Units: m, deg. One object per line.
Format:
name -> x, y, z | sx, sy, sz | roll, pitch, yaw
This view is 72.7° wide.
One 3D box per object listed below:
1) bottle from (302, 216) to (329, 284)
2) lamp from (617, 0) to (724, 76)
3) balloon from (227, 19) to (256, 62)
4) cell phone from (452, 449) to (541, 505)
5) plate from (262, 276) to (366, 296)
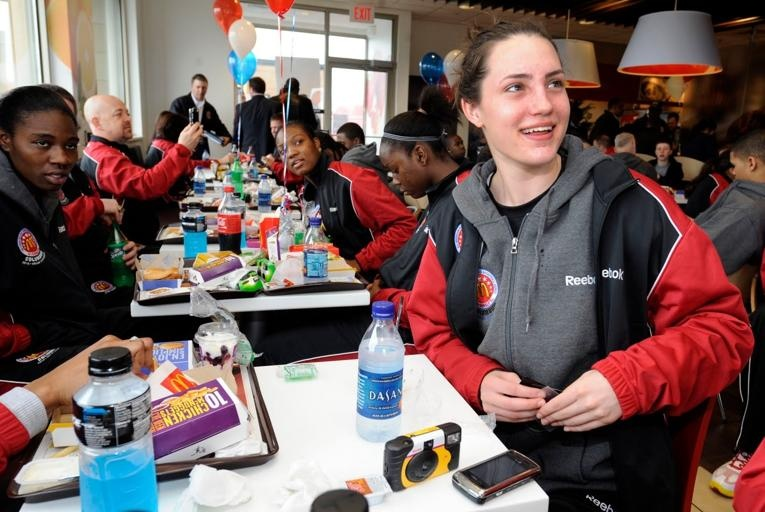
bottle -> -0.311, -0.052, 2.388 | 0.105, 0.214, 0.379 | -5, 19, -6
lamp -> 1.979, -1.383, 3.630 | 0.617, 0.645, 0.613 | 6, 10, 31
balloon -> -1.732, -2.685, 6.345 | 0.316, 0.437, 0.349 | -1, 19, 6
cell phone -> 0.261, 0.507, 1.208 | 0.166, 0.038, 0.087 | -10, 23, -28
plate -> -0.294, 0.131, 2.218 | 0.427, 0.057, 0.122 | -8, 19, -15
